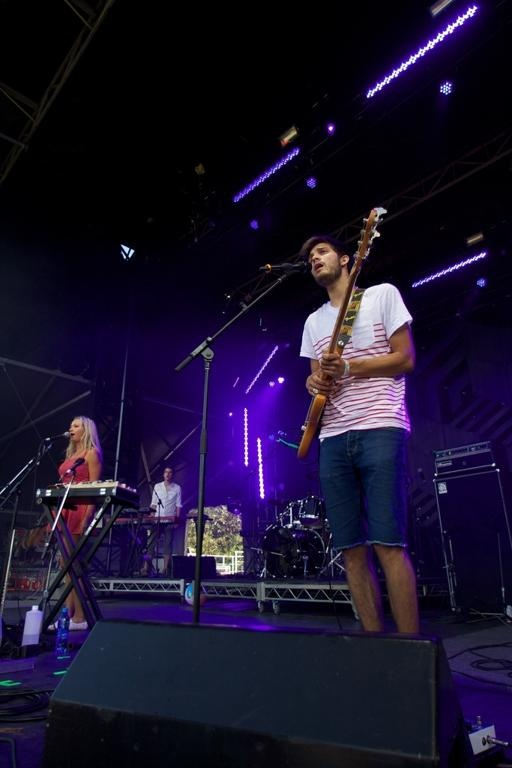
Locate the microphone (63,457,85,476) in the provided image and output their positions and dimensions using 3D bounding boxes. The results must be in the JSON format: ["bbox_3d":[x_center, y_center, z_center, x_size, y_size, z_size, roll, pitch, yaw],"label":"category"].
[{"bbox_3d":[-1.187,0.553,3.492,0.038,0.134,0.037,36,-3,34],"label":"microphone"}]

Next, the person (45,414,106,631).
[{"bbox_3d":[-1.170,0.861,3.500,0.273,1.427,0.917,4,-20,-19],"label":"person"}]

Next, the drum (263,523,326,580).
[{"bbox_3d":[0.446,2.037,6.368,0.570,0.755,0.694,12,-15,-38],"label":"drum"}]

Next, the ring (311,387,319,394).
[{"bbox_3d":[0.214,0.027,1.931,0.015,0.022,0.006,-4,-5,41],"label":"ring"}]

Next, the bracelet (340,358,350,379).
[{"bbox_3d":[0.300,-0.051,1.813,0.023,0.054,0.040,4,-3,-7],"label":"bracelet"}]

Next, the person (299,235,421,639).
[{"bbox_3d":[0.386,0.201,1.827,0.370,1.196,0.333,-3,-19,0],"label":"person"}]
